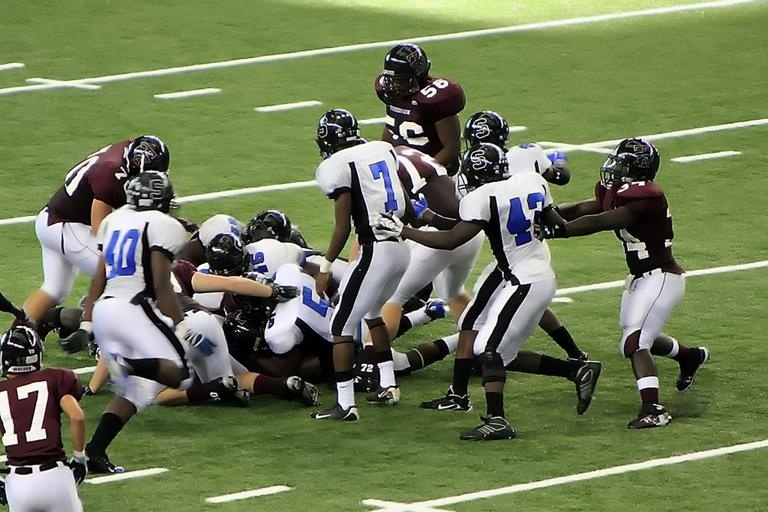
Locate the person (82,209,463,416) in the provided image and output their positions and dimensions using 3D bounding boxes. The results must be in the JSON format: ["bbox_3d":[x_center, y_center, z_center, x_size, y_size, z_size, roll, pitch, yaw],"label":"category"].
[{"bbox_3d":[-0.729,0.272,7.356,2.645,0.583,1.411,8,-7,-5],"label":"person"}]

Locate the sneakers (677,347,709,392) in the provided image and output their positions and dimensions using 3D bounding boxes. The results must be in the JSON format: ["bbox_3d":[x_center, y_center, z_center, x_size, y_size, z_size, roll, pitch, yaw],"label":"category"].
[{"bbox_3d":[2.275,0.828,7.004,0.186,0.329,0.129,12,21,-48],"label":"sneakers"}]

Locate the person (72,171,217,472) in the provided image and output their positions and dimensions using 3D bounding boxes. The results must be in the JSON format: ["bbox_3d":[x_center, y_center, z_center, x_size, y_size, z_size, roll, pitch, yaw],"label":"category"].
[{"bbox_3d":[-1.584,0.378,5.985,0.720,1.823,0.611,-5,8,-10],"label":"person"}]

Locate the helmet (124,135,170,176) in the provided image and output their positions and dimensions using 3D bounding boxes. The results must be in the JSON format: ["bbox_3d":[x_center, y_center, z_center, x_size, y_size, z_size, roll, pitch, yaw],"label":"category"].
[{"bbox_3d":[-1.661,-0.727,6.752,0.398,0.267,0.267,3,11,9],"label":"helmet"}]

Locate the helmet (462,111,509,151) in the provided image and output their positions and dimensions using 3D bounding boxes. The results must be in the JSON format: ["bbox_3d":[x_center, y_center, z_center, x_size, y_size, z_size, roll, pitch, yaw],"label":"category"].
[{"bbox_3d":[0.773,-0.958,7.219,0.412,0.267,0.289,2,17,27],"label":"helmet"}]

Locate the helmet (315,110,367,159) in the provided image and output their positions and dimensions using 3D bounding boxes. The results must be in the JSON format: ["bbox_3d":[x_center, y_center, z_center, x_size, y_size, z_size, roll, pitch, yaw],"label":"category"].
[{"bbox_3d":[-0.320,-0.871,6.832,0.355,0.315,0.393,-8,1,-21],"label":"helmet"}]

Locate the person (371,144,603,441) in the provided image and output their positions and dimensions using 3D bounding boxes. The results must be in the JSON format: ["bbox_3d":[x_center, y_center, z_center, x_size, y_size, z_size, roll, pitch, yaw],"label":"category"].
[{"bbox_3d":[0.825,0.192,6.558,1.228,1.959,0.711,-8,8,-30],"label":"person"}]

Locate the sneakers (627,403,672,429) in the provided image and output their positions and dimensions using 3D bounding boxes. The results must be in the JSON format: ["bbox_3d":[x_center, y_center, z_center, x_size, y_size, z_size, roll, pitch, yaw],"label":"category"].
[{"bbox_3d":[1.755,1.076,6.427,0.393,0.121,0.118,-4,5,-19],"label":"sneakers"}]

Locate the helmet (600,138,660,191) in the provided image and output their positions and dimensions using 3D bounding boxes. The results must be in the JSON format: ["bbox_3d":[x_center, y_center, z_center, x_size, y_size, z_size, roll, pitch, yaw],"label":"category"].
[{"bbox_3d":[1.752,-0.660,6.702,0.471,0.254,0.296,0,5,-6],"label":"helmet"}]

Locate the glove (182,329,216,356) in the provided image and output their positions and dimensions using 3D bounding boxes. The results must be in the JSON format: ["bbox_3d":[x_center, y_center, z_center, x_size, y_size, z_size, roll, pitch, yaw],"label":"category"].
[{"bbox_3d":[-1.240,0.566,6.316,0.097,0.118,0.244,-11,-27,42],"label":"glove"}]

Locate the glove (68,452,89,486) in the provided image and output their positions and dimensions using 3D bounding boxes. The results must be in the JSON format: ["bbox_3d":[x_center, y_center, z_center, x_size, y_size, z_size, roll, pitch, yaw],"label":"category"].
[{"bbox_3d":[-1.652,1.131,5.100,0.087,0.168,0.136,-6,-27,-8],"label":"glove"}]
